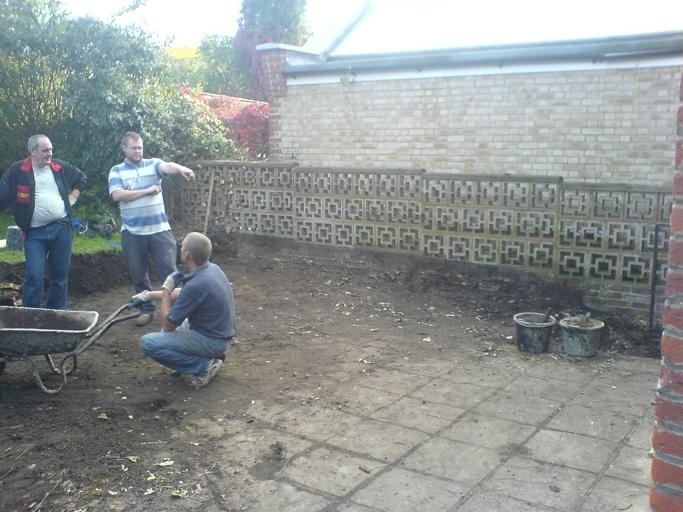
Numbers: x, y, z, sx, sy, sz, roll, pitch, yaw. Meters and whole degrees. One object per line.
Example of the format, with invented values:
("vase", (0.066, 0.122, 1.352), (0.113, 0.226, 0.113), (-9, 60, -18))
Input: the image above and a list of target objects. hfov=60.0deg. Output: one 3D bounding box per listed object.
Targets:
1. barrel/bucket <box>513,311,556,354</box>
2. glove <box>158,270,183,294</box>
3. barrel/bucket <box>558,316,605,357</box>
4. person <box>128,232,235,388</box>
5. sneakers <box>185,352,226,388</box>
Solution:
("barrel/bucket", (2.586, 1.035, 7.886), (0.687, 0.432, 0.604), (-6, 9, -40))
("glove", (-2.015, 0.300, 6.967), (0.200, 0.137, 0.337), (-2, -10, -10))
("barrel/bucket", (3.128, 1.037, 7.749), (0.599, 0.451, 0.578), (2, 4, 0))
("person", (-1.660, 0.582, 6.387), (0.973, 1.660, 0.456), (-3, 10, -13))
("sneakers", (-1.425, 1.260, 6.571), (0.558, 0.180, 0.260), (-41, 15, -35))
